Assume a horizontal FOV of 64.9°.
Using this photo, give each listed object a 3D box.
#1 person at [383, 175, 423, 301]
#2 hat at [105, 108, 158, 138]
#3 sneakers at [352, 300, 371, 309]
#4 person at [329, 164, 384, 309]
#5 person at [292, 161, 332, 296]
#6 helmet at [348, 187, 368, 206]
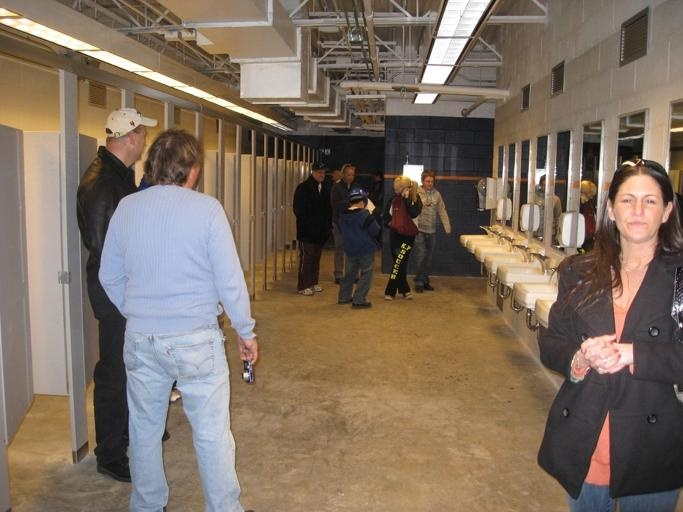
[{"bbox_3d":[0.923,-0.276,8.191,0.530,1.868,0.445,-1,9,-14],"label":"person"},{"bbox_3d":[-1.324,-0.839,3.401,0.293,0.143,0.187,-19,42,-32],"label":"hat"},{"bbox_3d":[0.284,0.689,7.679,0.282,0.118,0.094,-2,8,-22],"label":"sneakers"},{"bbox_3d":[0.208,-0.356,8.148,0.634,2.029,1.550,1,9,-1],"label":"person"},{"bbox_3d":[-0.489,-0.453,8.658,0.565,2.052,0.852,2,9,5],"label":"person"},{"bbox_3d":[0.234,-0.850,7.625,0.193,0.264,0.266,1,14,34],"label":"helmet"}]
